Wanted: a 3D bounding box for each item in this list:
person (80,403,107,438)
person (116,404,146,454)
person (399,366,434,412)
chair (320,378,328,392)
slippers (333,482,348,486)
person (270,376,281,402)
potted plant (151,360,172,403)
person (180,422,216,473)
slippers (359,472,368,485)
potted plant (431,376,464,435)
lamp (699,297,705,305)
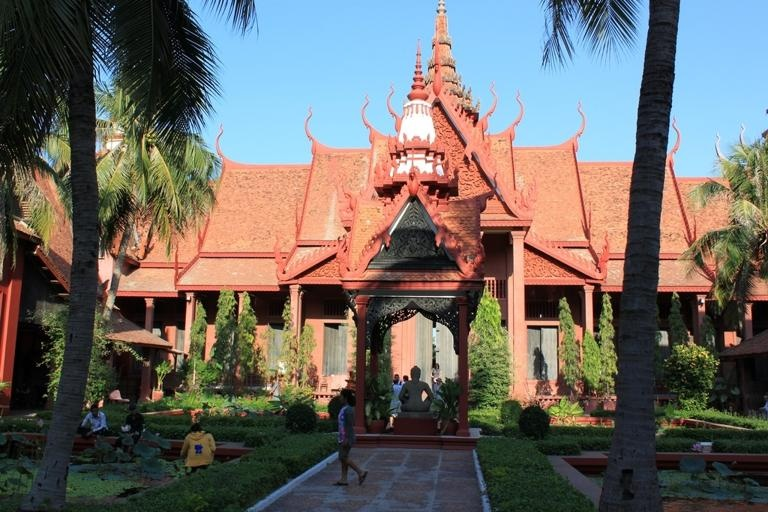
[{"bbox_3d":[-7.014,4.000,16.973,0.750,0.875,0.693,-1,-7,-8],"label":"person"},{"bbox_3d":[-5.823,3.930,16.064,0.562,1.113,1.361,7,-17,-20],"label":"person"},{"bbox_3d":[0.821,3.303,17.163,0.849,1.092,1.018,6,-17,-18],"label":"person"},{"bbox_3d":[-2.473,5.273,28.455,0.370,0.539,0.363,1,-2,5],"label":"chair"},{"bbox_3d":[-0.819,4.134,12.719,0.243,0.075,0.089,2,-9,5],"label":"slippers"},{"bbox_3d":[-4.342,5.230,27.953,0.359,0.923,1.119,4,-17,-10],"label":"person"},{"bbox_3d":[-9.315,5.148,29.363,0.737,1.758,1.547,6,-17,-17],"label":"potted plant"},{"bbox_3d":[-3.627,3.889,13.694,0.609,1.282,0.436,-1,9,-12],"label":"person"},{"bbox_3d":[-0.403,4.057,12.706,0.098,0.260,0.093,9,30,8],"label":"slippers"},{"bbox_3d":[1.544,3.645,17.084,0.752,1.343,0.534,-6,-17,21],"label":"potted plant"},{"bbox_3d":[12.405,1.739,27.379,0.153,0.201,0.070,7,-10,7],"label":"lamp"}]
